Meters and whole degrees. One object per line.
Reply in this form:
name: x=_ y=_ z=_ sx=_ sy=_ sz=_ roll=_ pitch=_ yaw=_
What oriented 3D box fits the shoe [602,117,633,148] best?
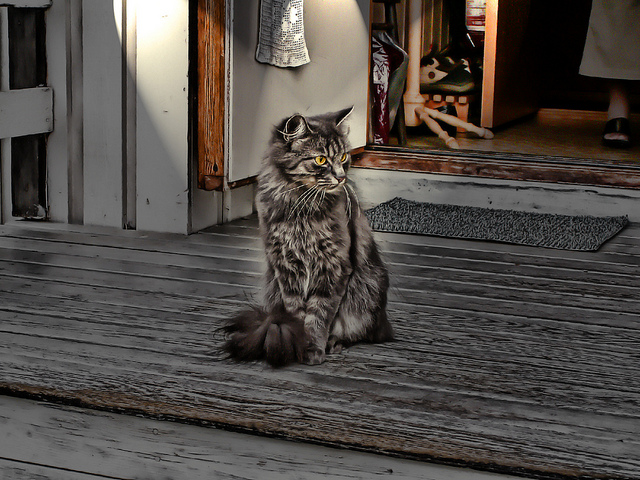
shoe: x=1.920 y=-0.683 z=4.159 sx=0.185 sy=0.194 sz=0.288 roll=12 pitch=31 yaw=21

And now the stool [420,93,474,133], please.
stool: x=0.908 y=-0.919 z=4.672 sx=0.342 sy=0.251 sz=0.409 roll=8 pitch=19 yaw=27

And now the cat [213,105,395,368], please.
cat: x=0.010 y=-0.046 z=1.808 sx=0.528 sy=0.654 sz=0.498 roll=3 pitch=12 yaw=13
